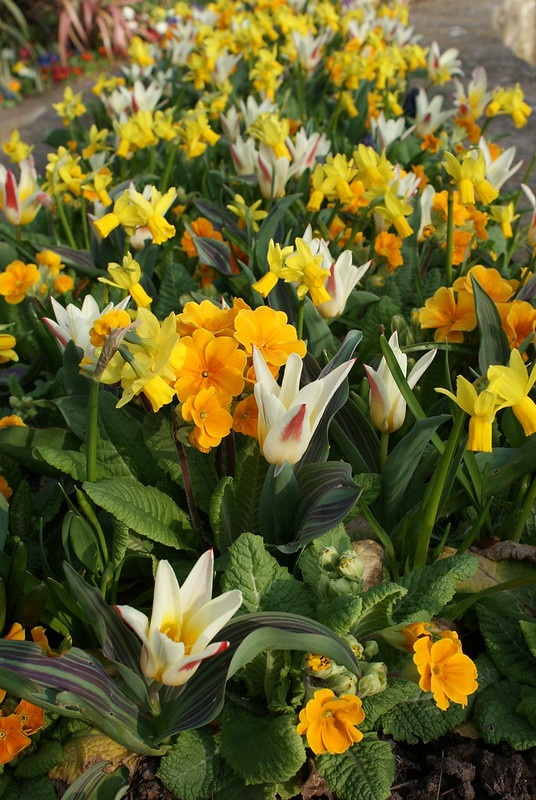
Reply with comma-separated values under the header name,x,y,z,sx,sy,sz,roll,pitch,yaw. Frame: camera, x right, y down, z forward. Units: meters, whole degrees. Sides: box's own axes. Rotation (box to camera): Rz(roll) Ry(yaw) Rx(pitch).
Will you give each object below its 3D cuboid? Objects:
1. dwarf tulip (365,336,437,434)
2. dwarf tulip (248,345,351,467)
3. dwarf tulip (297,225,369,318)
name,x,y,z,sx,sy,sz,roll,pitch,yaw
dwarf tulip,0.258,-0.023,1.255,0.151,0.195,0.188,12,19,22
dwarf tulip,0.041,0.004,0.996,0.122,0.206,0.157,23,36,26
dwarf tulip,0.174,-0.265,1.464,0.171,0.193,0.120,7,25,6
